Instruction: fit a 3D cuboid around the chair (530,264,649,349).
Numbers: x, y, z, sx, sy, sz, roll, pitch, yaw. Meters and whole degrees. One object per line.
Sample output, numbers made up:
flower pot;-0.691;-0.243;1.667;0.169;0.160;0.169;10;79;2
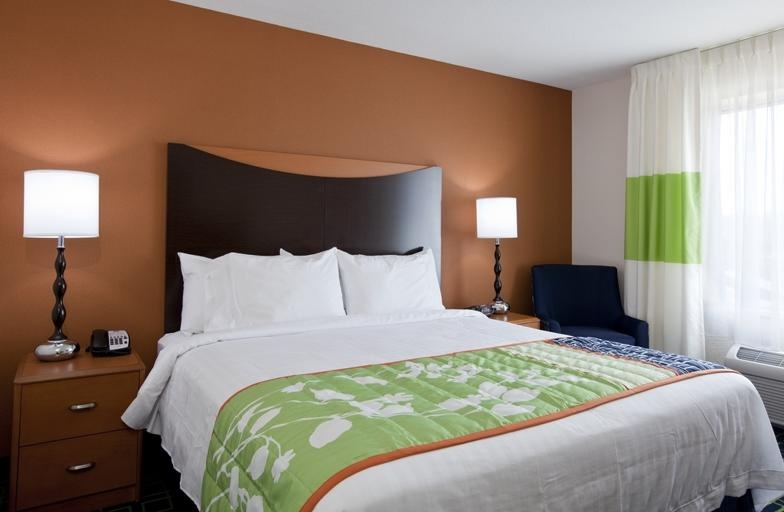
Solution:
chair;1.908;0.486;5.145;0.729;0.994;0.877;1;-12;-1

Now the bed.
bed;0.459;0.397;3.542;2.619;1.587;2.592;-2;4;-32
